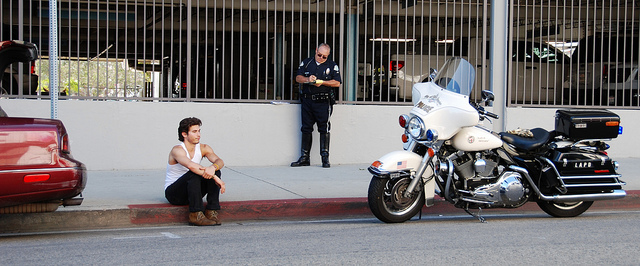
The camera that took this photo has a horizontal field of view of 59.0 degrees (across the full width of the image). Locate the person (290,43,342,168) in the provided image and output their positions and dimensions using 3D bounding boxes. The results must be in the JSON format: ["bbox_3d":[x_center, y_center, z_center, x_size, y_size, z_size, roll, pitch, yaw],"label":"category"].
[{"bbox_3d":[-0.110,-0.912,18.584,1.377,3.996,0.695,0,11,-1],"label":"person"}]
